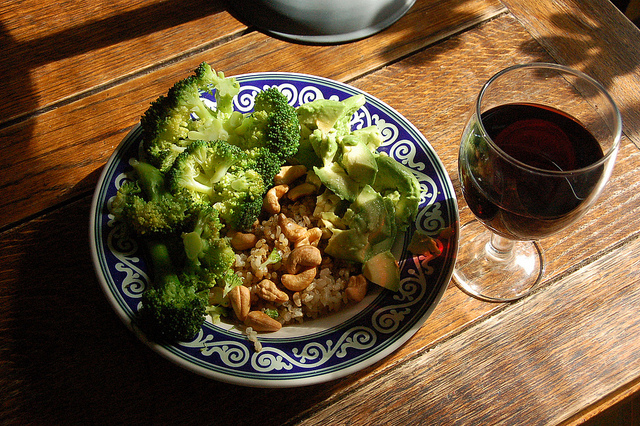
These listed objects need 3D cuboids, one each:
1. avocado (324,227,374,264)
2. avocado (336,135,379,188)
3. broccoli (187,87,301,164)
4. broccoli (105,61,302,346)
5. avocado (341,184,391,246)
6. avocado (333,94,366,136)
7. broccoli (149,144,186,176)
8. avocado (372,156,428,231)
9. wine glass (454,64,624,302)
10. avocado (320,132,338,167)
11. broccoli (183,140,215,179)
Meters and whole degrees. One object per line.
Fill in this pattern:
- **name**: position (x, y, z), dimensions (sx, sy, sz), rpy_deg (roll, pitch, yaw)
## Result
- **avocado**: position (0.075, 0.074, 1.238), dimensions (0.109, 0.042, 0.074), rpy_deg (18, 75, 0)
- **avocado**: position (0.094, -0.129, 1.292), dimensions (0.086, 0.038, 0.159), rpy_deg (-36, 61, 1)
- **broccoli**: position (-0.174, -0.211, 1.289), dimensions (0.235, 0.130, 0.186), rpy_deg (0, 40, 0)
- **broccoli**: position (-0.357, -0.054, 1.183), dimensions (0.136, 0.414, 0.240), rpy_deg (13, 70, 0)
- **avocado**: position (0.111, 0.005, 1.246), dimensions (0.069, 0.137, 0.089), rpy_deg (-15, 31, -17)
- **avocado**: position (0.067, -0.246, 1.334), dimensions (0.082, 0.099, 0.055), rpy_deg (-24, 35, -39)
- **broccoli**: position (-0.366, -0.128, 1.266), dimensions (0.073, 0.071, 0.031), rpy_deg (14, 8, -20)
- **avocado**: position (0.203, -0.038, 1.279), dimensions (0.051, 0.132, 0.174), rpy_deg (4, 74, -39)
- **wine glass**: position (0.463, -0.040, 1.216), dimensions (0.337, 0.510, 0.303), rpy_deg (13, 54, 15)
- **avocado**: position (0.015, -0.148, 1.304), dimensions (0.032, 0.098, 0.057), rpy_deg (-29, 92, -7)
- **broccoli**: position (-0.280, -0.130, 1.275), dimensions (0.059, 0.095, 0.040), rpy_deg (-32, 27, 2)
